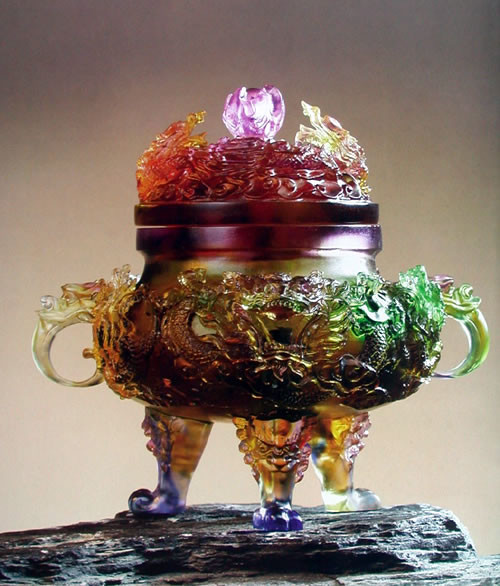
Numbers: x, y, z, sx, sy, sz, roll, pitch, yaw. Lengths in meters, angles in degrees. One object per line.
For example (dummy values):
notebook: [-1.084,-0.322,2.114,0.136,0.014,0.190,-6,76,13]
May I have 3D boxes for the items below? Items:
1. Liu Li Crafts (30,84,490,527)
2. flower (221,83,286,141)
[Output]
Liu Li Crafts: [0.049,0.027,1.837,0.957,0.915,0.403,-1,-1,-11]
flower: [0.007,-0.378,1.899,0.141,0.099,0.141,5,8,32]
